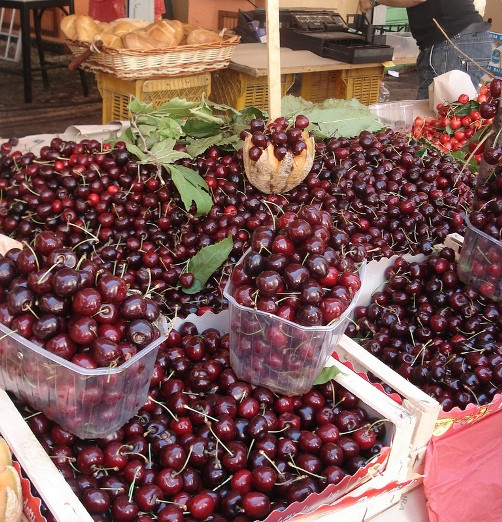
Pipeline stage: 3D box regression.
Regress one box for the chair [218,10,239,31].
[{"bbox_3d":[-0.397,-3.953,7.867,0.292,0.270,0.563,3,34,-8],"label":"chair"}]
